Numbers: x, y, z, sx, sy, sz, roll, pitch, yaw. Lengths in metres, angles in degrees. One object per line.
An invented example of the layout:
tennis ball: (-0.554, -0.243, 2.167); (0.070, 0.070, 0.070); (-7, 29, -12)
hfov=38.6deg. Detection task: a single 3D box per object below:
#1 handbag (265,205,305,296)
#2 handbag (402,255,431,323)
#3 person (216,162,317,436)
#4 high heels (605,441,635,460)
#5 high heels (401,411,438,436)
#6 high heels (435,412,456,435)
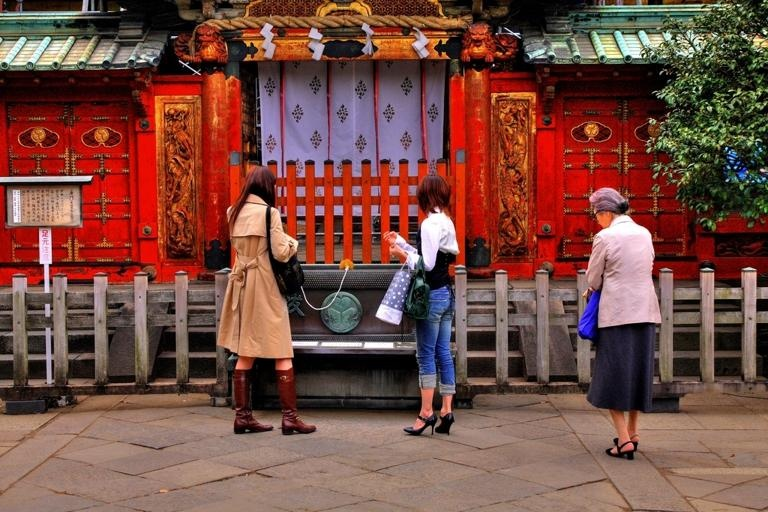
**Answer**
handbag: (-1.172, -0.054, 12.664); (0.438, 1.038, 0.183); (-1, -1, -14)
handbag: (0.349, 0.366, 12.503); (0.321, 0.735, 0.192); (-1, -1, 18)
person: (-1.434, 0.502, 12.755); (1.030, 3.082, 0.477); (-1, -1, -1)
high heels: (2.589, 2.130, 12.092); (0.163, 0.139, 0.309); (-2, 5, -29)
high heels: (0.411, 1.943, 12.610); (0.434, 0.220, 0.186); (1, -2, 5)
high heels: (0.672, 1.913, 12.643); (0.220, 0.259, 0.149); (-1, -1, 12)
